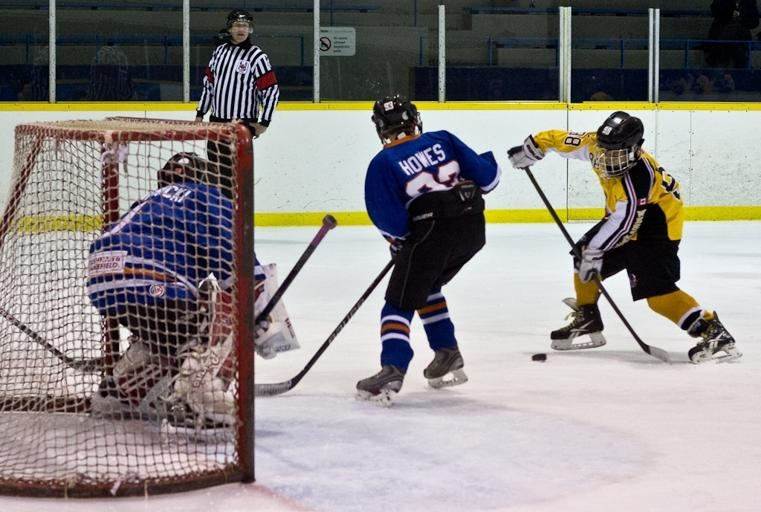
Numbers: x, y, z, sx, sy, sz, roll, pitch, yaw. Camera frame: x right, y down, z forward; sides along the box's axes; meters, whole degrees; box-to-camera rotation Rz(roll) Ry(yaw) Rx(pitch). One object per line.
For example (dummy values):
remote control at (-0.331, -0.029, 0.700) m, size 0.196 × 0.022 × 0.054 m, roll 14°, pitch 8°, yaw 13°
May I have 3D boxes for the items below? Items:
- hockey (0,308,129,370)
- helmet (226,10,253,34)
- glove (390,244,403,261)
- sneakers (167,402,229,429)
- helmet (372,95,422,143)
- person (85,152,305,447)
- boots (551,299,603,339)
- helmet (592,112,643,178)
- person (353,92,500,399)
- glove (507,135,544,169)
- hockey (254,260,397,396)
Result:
hockey at (-1.308, 0.327, 3.805) m, size 0.360 × 0.094 × 0.351 m, roll 39°, pitch -14°, yaw 1°
helmet at (-0.993, -1.637, 6.376) m, size 0.163 × 0.178 × 0.255 m, roll -2°, pitch 14°, yaw -9°
glove at (0.071, -0.015, 4.079) m, size 0.028 × 0.028 × 0.078 m, roll 9°, pitch -32°, yaw -29°
sneakers at (-0.714, 0.638, 3.551) m, size 0.206 × 0.052 × 0.114 m, roll 11°, pitch -3°, yaw -5°
helmet at (0.074, -0.614, 4.075) m, size 0.205 × 0.204 × 0.233 m, roll -7°, pitch 9°, yaw 18°
person at (-0.864, 0.149, 3.544) m, size 0.568 × 1.071 × 0.520 m, roll -2°, pitch 15°, yaw -11°
boots at (1.006, 0.344, 4.804) m, size 0.361 × 0.192 × 0.106 m, roll -9°, pitch 8°, yaw -17°
helmet at (1.203, -0.558, 4.530) m, size 0.305 × 0.263 × 0.230 m, roll -27°, pitch 31°, yaw -33°
person at (0.151, -0.037, 4.064) m, size 0.484 × 1.313 × 0.835 m, roll 12°, pitch 18°, yaw 36°
glove at (0.749, -0.585, 5.021) m, size 0.079 × 0.147 × 0.191 m, roll 48°, pitch 2°, yaw -4°
hockey at (-0.208, 0.298, 4.187) m, size 0.254 × 0.056 × 1.033 m, roll 7°, pitch 37°, yaw 42°
